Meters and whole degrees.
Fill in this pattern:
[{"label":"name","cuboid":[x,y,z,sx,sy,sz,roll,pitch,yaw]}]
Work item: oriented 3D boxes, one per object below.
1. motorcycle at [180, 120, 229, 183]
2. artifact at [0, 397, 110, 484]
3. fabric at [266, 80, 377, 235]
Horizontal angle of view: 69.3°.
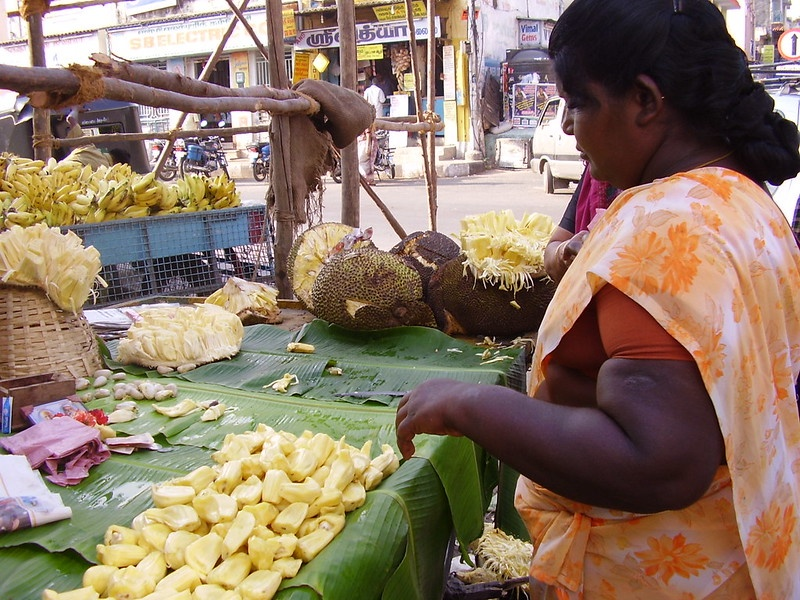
[{"label":"motorcycle","cuboid":[-5.222,-3.972,15.520,1.044,1.429,2.063,11,13,16]},{"label":"artifact","cuboid":[-1.136,0.464,1.903,0.243,0.085,0.251,31,41,24]},{"label":"fabric","cuboid":[-0.288,-1.038,3.686,0.486,0.632,1.098,6,25,21]}]
